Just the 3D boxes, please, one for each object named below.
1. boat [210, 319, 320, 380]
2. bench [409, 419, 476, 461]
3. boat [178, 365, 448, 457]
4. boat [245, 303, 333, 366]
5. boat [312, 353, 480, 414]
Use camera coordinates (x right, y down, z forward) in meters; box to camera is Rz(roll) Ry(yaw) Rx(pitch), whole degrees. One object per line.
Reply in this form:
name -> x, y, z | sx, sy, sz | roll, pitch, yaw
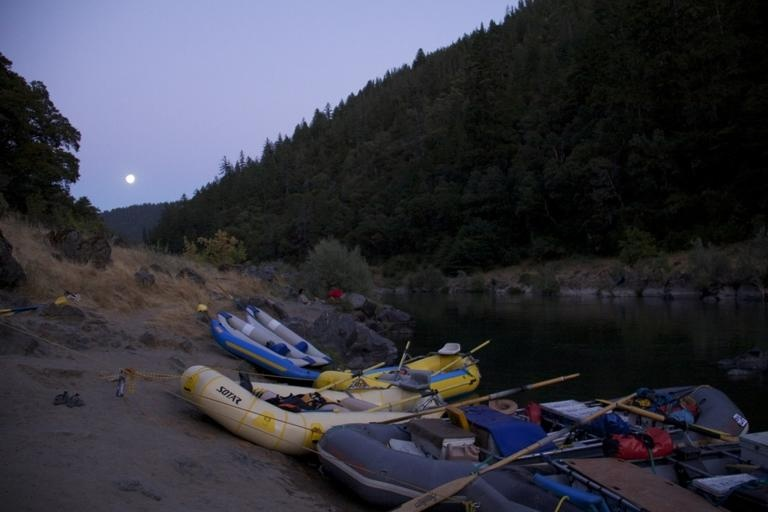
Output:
boat -> -4.203, 3.500, 18.857 | 3.611, 0.663, 1.738 | 27, 8, 12
bench -> 1.541, 4.855, 14.148 | 1.163, 0.513, 1.724 | 7, -3, -32
boat -> -1.965, 4.415, 15.356 | 6.141, 1.372, 3.083 | 7, -7, -19
boat -> -4.070, 3.254, 21.259 | 4.838, 0.785, 1.450 | 33, 10, 16
boat -> 0.831, 4.171, 18.594 | 4.516, 1.051, 2.238 | 2, -3, -29
